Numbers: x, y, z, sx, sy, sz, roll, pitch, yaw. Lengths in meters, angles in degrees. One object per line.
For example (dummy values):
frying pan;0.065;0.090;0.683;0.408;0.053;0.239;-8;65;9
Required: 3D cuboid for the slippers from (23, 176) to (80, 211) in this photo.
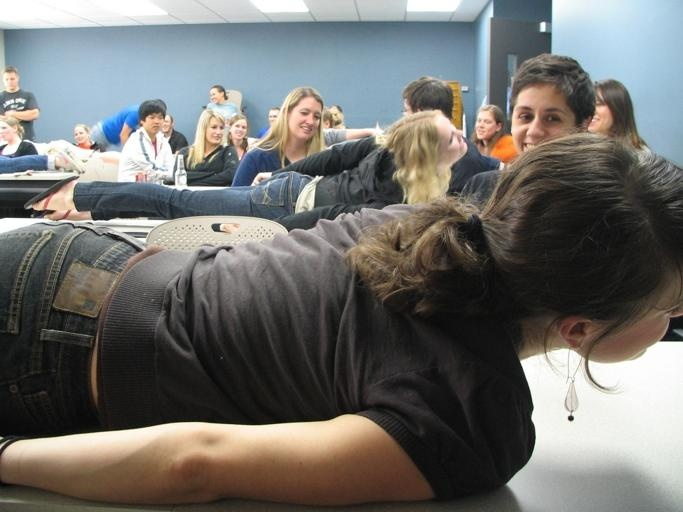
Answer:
slippers;-1.428;-0.307;2.701;0.262;0.070;0.092;-32;8;8
